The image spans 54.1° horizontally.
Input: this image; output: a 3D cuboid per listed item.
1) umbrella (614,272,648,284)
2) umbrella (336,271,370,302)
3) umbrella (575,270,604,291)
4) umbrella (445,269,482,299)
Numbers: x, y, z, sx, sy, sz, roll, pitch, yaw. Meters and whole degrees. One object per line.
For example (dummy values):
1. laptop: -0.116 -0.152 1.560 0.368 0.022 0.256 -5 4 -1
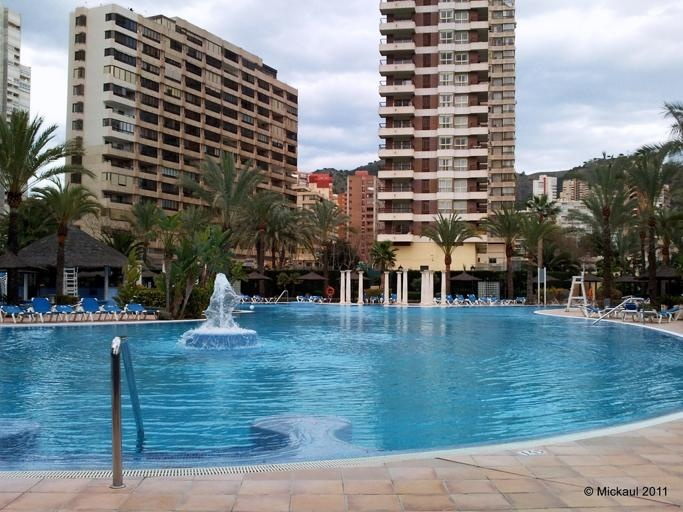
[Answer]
1. umbrella: 18.336 1.406 42.322 1.292 0.461 1.351 -1 0 12
2. umbrella: 1.069 2.038 52.407 1.752 2.031 1.711 -1 8 -11
3. umbrella: 19.501 1.927 52.681 1.643 0.817 1.855 -7 9 -32
4. umbrella: 10.678 2.447 59.057 2.294 2.095 2.524 -1 1 0
